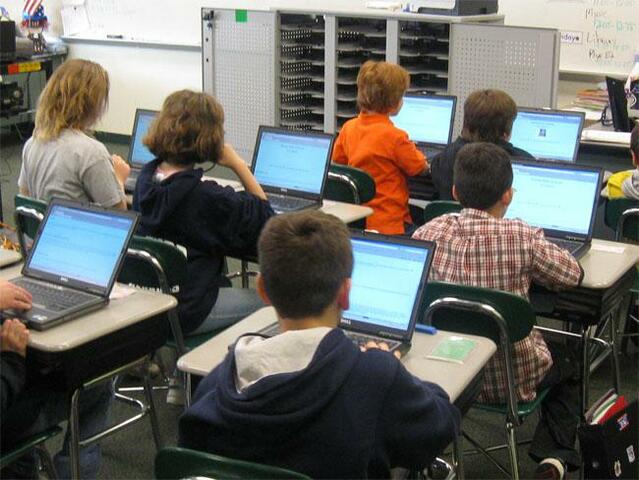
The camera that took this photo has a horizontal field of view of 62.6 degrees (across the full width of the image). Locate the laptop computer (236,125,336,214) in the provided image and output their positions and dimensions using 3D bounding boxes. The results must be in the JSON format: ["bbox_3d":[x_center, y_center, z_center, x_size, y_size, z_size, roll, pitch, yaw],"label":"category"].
[{"bbox_3d":[-0.237,-0.364,2.775,0.527,0.386,0.500,9,21,21],"label":"laptop computer"}]

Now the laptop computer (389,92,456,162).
[{"bbox_3d":[0.637,-0.758,3.646,0.553,0.370,0.507,5,35,20],"label":"laptop computer"}]

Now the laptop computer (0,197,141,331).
[{"bbox_3d":[-0.796,0.055,1.858,0.423,0.446,0.300,15,4,28],"label":"laptop computer"}]

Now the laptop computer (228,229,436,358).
[{"bbox_3d":[0.032,0.142,1.462,0.438,0.326,0.470,8,4,37],"label":"laptop computer"}]

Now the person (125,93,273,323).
[{"bbox_3d":[-0.523,-0.041,2.411,0.679,1.149,0.684,8,3,-14],"label":"person"}]

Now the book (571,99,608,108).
[{"bbox_3d":[2.316,-1.171,4.487,0.093,0.053,0.251,-14,26,-42],"label":"book"}]

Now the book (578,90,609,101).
[{"bbox_3d":[2.387,-1.254,4.561,0.179,0.046,0.187,7,16,33],"label":"book"}]

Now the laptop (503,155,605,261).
[{"bbox_3d":[1.102,-0.200,2.490,0.515,0.472,0.378,15,27,24],"label":"laptop"}]
